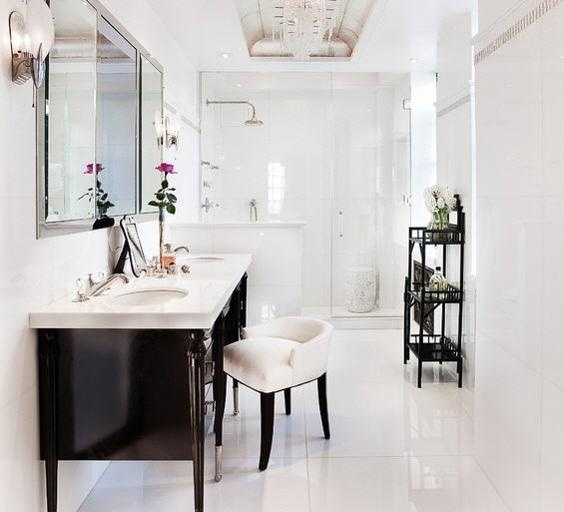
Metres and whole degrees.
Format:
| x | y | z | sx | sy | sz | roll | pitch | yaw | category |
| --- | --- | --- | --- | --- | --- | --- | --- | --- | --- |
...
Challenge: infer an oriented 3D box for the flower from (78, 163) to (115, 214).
| x | y | z | sx | sy | sz | roll | pitch | yaw | category |
| --- | --- | --- | --- | --- | --- | --- | --- | --- | --- |
| -0.869 | -0.314 | 2.368 | 0.139 | 0.243 | 0.142 | -7 | -14 | -13 | flower |

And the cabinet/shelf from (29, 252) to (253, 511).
| x | y | z | sx | sy | sz | roll | pitch | yaw | category |
| --- | --- | --- | --- | --- | --- | --- | --- | --- | --- |
| -0.594 | 0.606 | 2.324 | 0.685 | 0.913 | 0.866 | 1 | 7 | 3 | cabinet/shelf |

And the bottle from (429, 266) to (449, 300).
| x | y | z | sx | sy | sz | roll | pitch | yaw | category |
| --- | --- | --- | --- | --- | --- | --- | --- | --- | --- |
| 1.155 | 0.178 | 3.653 | 0.095 | 0.220 | 0.107 | -8 | 15 | 25 | bottle |

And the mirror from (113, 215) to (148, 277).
| x | y | z | sx | sy | sz | roll | pitch | yaw | category |
| --- | --- | --- | --- | --- | --- | --- | --- | --- | --- |
| -0.860 | -0.059 | 2.829 | 0.143 | 0.337 | 0.285 | -1 | 5 | -5 | mirror |

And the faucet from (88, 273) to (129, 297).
| x | y | z | sx | sy | sz | roll | pitch | yaw | category |
| --- | --- | --- | --- | --- | --- | --- | --- | --- | --- |
| -0.804 | 0.128 | 2.241 | 0.250 | 0.121 | 0.080 | -4 | 0 | 27 | faucet |

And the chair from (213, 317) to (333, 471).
| x | y | z | sx | sy | sz | roll | pitch | yaw | category |
| --- | --- | --- | --- | --- | --- | --- | --- | --- | --- |
| -0.026 | 0.666 | 2.628 | 0.513 | 0.739 | 0.530 | 1 | 4 | -21 | chair |

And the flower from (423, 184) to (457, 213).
| x | y | z | sx | sy | sz | roll | pitch | yaw | category |
| --- | --- | --- | --- | --- | --- | --- | --- | --- | --- |
| 1.150 | -0.420 | 3.693 | 0.171 | 0.287 | 0.197 | -1 | 4 | 3 | flower |

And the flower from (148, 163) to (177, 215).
| x | y | z | sx | sy | sz | roll | pitch | yaw | category |
| --- | --- | --- | --- | --- | --- | --- | --- | --- | --- |
| -0.730 | -0.414 | 3.125 | 0.160 | 0.358 | 0.184 | 12 | 15 | 10 | flower |
